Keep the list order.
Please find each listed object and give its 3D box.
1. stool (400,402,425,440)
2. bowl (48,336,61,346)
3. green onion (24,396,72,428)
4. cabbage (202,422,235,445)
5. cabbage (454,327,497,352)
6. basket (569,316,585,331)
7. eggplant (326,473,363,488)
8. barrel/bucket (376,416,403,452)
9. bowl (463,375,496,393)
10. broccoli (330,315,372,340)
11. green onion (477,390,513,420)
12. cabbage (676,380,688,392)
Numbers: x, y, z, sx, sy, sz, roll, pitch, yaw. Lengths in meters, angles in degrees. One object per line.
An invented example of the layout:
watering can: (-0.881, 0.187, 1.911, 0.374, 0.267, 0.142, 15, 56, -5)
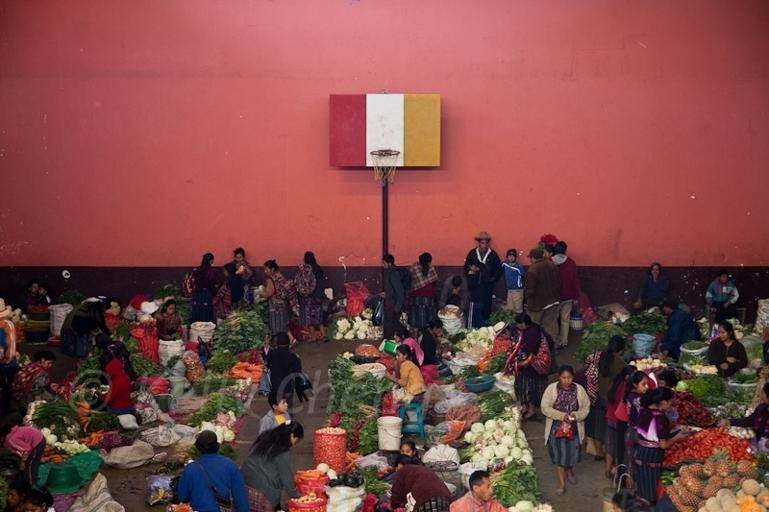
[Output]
stool: (0.470, 2.912, 13.013, 0.502, 0.753, 0.569, -1, -2, 0)
bowl: (-7.453, 1.930, 16.645, 0.476, 0.215, 0.231, -1, 4, 33)
green onion: (-5.845, 2.706, 12.729, 0.568, 0.345, 0.464, 3, 8, 24)
cabbage: (-2.930, 3.140, 13.120, 0.453, 0.345, 0.613, -6, 5, -44)
cabbage: (2.029, 1.817, 16.130, 0.541, 0.234, 0.563, -13, 3, -4)
basket: (4.472, 1.587, 17.156, 0.363, 0.322, 0.121, -4, 4, -27)
eggplant: (-0.598, 3.511, 11.438, 0.285, 0.126, 0.268, -1, -4, 10)
barrel/bucket: (0.068, 3.088, 12.733, 0.595, 0.514, 0.588, 0, 4, 0)
bowl: (1.795, 2.432, 13.913, 0.614, 0.280, 0.478, -3, 3, 1)
broccoli: (-0.741, 1.678, 17.009, 0.647, 0.211, 0.529, -9, 43, 10)
green onion: (1.966, 2.688, 13.160, 0.588, 0.349, 0.711, -2, 3, 7)
cabbage: (5.361, 2.378, 13.325, 0.223, 0.163, 0.280, -11, -3, 9)
